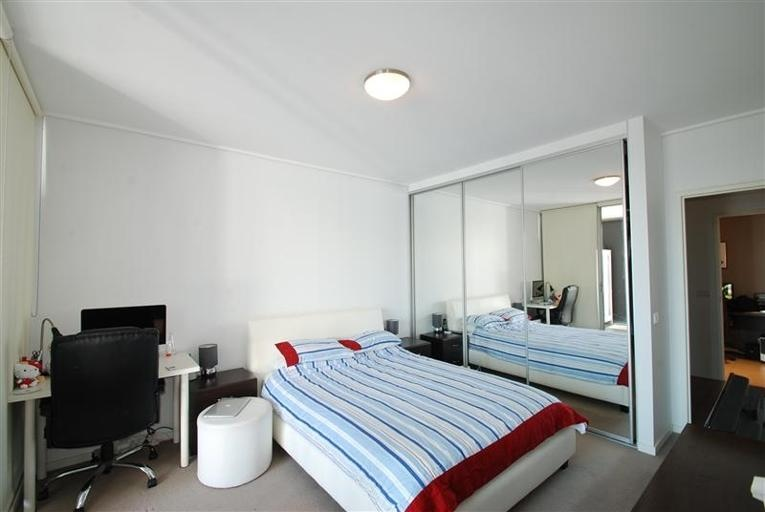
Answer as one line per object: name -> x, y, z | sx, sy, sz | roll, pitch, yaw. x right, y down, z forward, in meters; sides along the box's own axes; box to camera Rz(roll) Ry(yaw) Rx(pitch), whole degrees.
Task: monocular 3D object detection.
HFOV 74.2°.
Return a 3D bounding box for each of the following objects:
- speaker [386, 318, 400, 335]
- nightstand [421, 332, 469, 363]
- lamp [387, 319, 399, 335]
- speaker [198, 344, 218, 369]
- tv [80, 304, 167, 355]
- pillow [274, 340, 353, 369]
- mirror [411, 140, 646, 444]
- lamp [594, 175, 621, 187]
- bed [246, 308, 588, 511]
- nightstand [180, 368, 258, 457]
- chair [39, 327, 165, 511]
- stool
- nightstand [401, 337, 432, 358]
speaker -> 0.115, 0.965, 6.947 | 0.186, 0.205, 0.184 | 1, -1, -38
nightstand -> 0.820, 1.188, 6.820 | 0.388, 0.415, 0.398 | -4, 7, -36
lamp -> 0.139, 0.968, 6.951 | 0.177, 0.195, 0.178 | 0, -1, 39
speaker -> -1.849, 1.058, 5.357 | 0.204, 0.246, 0.126 | -10, 14, -19
tv -> -2.489, 0.682, 4.793 | 0.545, 0.382, 0.155 | 0, -2, -27
pillow -> -0.775, 1.053, 5.644 | 0.578, 0.116, 0.347 | 4, 8, -33
mirror -> 1.793, 0.353, 6.660 | 2.958, 2.891, 0.984 | 0, 8, 44
lamp -> 2.407, -0.808, 5.430 | 0.048, 0.120, 0.306 | -11, 14, -24
bed -> 0.059, 1.429, 5.188 | 3.333, 1.376, 2.162 | 4, 16, 34
nightstand -> -1.690, 1.479, 5.413 | 0.661, 0.829, 0.913 | 0, 1, 44
chair -> -2.518, 1.364, 4.608 | 1.056, 1.574, 0.567 | -14, 16, -32
stool -> -1.480, 1.739, 5.024 | 0.699, 0.637, 0.692 | -1, 0, -30
nightstand -> 0.439, 1.183, 6.740 | 0.297, 0.299, 0.300 | -4, 5, -43
